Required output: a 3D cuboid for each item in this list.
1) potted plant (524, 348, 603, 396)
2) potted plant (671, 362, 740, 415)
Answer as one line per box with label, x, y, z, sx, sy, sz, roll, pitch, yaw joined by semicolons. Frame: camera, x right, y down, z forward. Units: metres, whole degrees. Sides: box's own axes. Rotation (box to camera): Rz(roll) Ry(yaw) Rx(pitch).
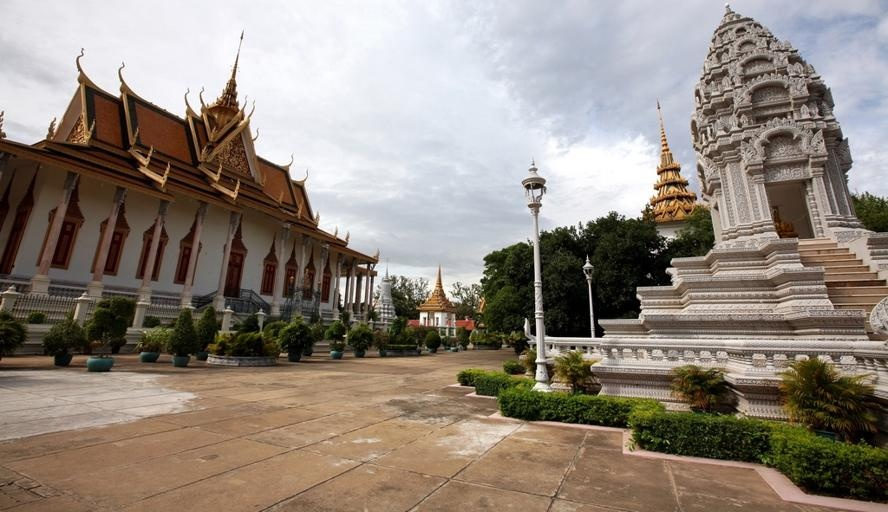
potted plant;3.844;3.500;13.390;1.627;1.188;1.650;-1;-9;37
potted plant;6.724;3.417;11.323;1.586;1.157;0.561;5;-7;-9
